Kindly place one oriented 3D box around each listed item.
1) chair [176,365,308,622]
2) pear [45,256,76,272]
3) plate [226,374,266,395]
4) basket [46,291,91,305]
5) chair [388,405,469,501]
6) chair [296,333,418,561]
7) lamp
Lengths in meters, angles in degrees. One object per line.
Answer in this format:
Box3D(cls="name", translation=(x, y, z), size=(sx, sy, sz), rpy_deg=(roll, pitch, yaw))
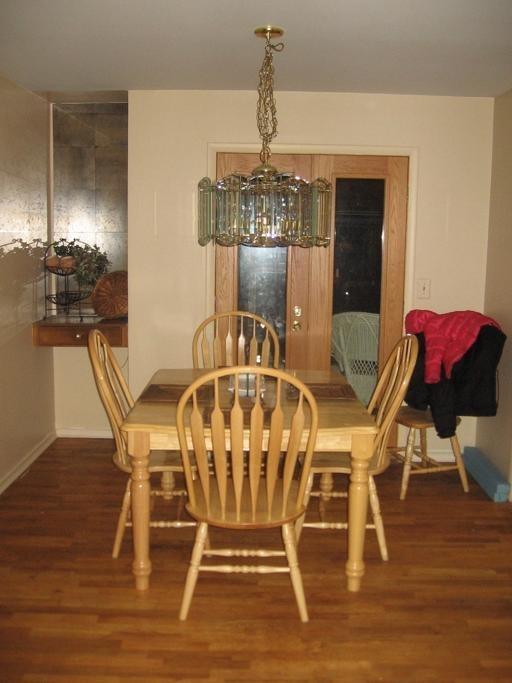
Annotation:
Box3D(cls="chair", translation=(-0.039, 0.499, 2.055), size=(0.458, 0.833, 0.481), rpy_deg=(0, 8, 4))
Box3D(cls="pear", translation=(-1.228, -0.479, 3.678), size=(0.182, 0.105, 0.055), rpy_deg=(3, 7, 14))
Box3D(cls="plate", translation=(-0.035, 0.180, 2.485), size=(0.121, 0.030, 0.127), rpy_deg=(1, 13, 4))
Box3D(cls="basket", translation=(-1.231, -0.273, 3.844), size=(0.270, 0.104, 0.127), rpy_deg=(-1, 7, -19))
Box3D(cls="chair", translation=(0.911, 0.570, 3.266), size=(0.418, 0.402, 0.642), rpy_deg=(-3, 6, 0))
Box3D(cls="chair", translation=(0.398, 0.420, 2.519), size=(0.502, 0.934, 0.518), rpy_deg=(4, 10, -8))
Box3D(cls="lamp", translation=(0.074, -0.816, 2.350), size=(0.500, 0.882, 0.798), rpy_deg=(3, 7, 12))
